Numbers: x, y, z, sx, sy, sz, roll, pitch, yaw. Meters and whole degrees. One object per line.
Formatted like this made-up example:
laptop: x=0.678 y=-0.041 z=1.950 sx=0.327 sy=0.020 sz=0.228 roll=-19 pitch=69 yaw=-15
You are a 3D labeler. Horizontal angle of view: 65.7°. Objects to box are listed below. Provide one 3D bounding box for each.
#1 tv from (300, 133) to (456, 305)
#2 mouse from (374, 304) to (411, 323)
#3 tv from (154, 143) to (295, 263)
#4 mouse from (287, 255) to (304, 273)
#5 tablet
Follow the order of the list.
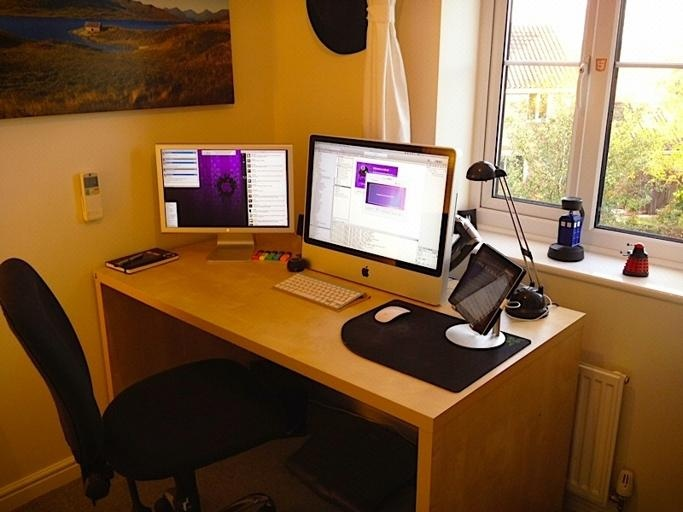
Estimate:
tv: x=0.146 y=-0.129 z=2.056 sx=0.556 sy=0.510 sz=0.111 roll=15 pitch=23 yaw=33
mouse: x=0.179 y=0.199 z=1.908 sx=0.096 sy=0.023 sz=0.059 roll=-25 pitch=40 yaw=-25
tv: x=-0.528 y=-0.256 z=2.463 sx=0.585 sy=0.553 sz=0.204 roll=-2 pitch=23 yaw=-9
mouse: x=-0.202 y=0.025 z=2.328 sx=0.064 sy=0.041 sz=0.066 roll=20 pitch=33 yaw=31
tablet: x=0.464 y=0.113 z=1.750 sx=0.225 sy=0.229 sz=0.116 roll=18 pitch=26 yaw=-37
